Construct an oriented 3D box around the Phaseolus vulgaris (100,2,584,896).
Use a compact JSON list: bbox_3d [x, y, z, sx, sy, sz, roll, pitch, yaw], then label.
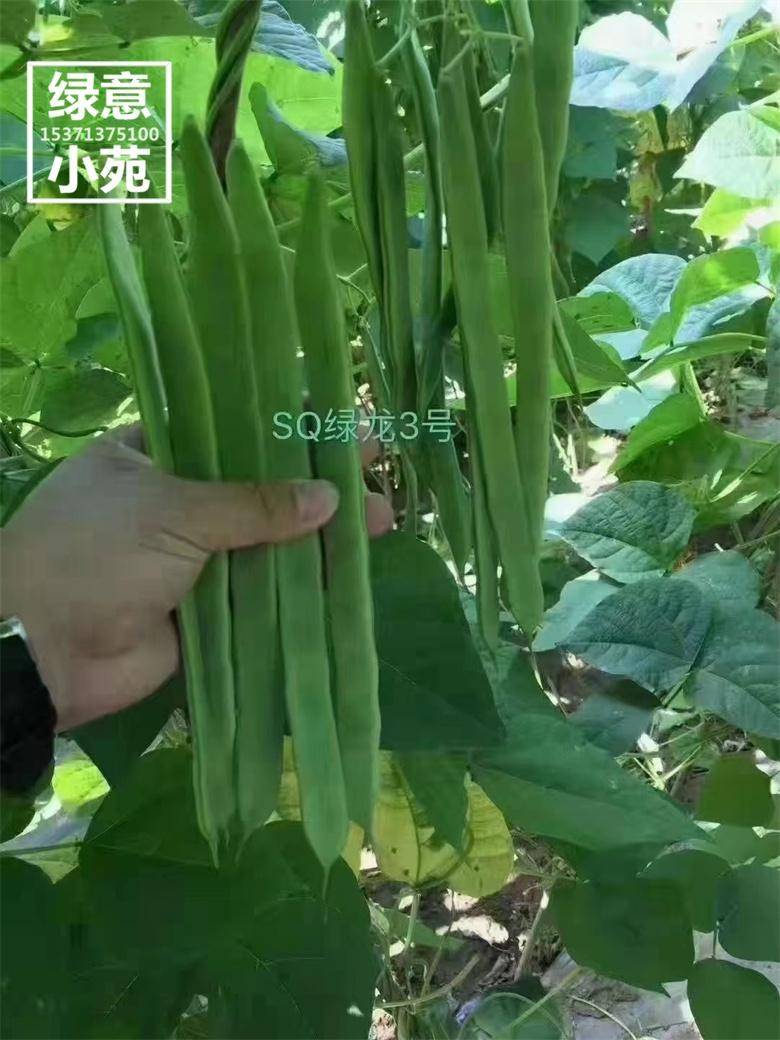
[{"bbox_3d":[-0.006,-0.040,0.471,0.261,0.467,0.078,-11,13,-15],"label":"Phaseolus vulgaris"}]
